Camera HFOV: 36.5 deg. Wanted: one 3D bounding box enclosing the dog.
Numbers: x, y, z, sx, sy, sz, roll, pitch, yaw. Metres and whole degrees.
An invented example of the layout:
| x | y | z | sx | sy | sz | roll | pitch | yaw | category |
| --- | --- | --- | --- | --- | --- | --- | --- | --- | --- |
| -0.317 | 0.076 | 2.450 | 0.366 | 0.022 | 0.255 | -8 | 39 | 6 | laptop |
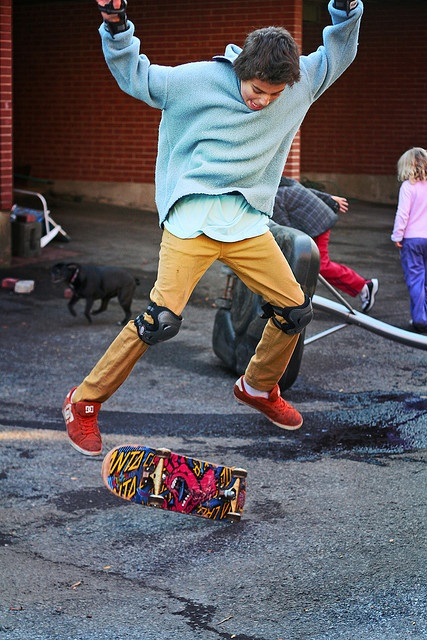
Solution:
| x | y | z | sx | sy | sz | roll | pitch | yaw | category |
| --- | --- | --- | --- | --- | --- | --- | --- | --- | --- |
| -1.215 | -0.293 | 6.716 | 1.036 | 0.588 | 0.337 | -1 | 15 | -36 | dog |

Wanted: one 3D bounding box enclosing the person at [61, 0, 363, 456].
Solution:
| x | y | z | sx | sy | sz | roll | pitch | yaw | category |
| --- | --- | --- | --- | --- | --- | --- | --- | --- | --- |
| 0.004 | -0.363 | 2.810 | 1.303 | 2.088 | 0.791 | -2 | 11 | -15 | person |

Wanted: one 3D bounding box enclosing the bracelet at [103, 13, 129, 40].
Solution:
| x | y | z | sx | sy | sz | roll | pitch | yaw | category |
| --- | --- | --- | --- | --- | --- | --- | --- | --- | --- |
| -0.373 | -1.119 | 2.455 | 0.074 | 0.087 | 0.079 | -4 | 4 | -6 | bracelet |
